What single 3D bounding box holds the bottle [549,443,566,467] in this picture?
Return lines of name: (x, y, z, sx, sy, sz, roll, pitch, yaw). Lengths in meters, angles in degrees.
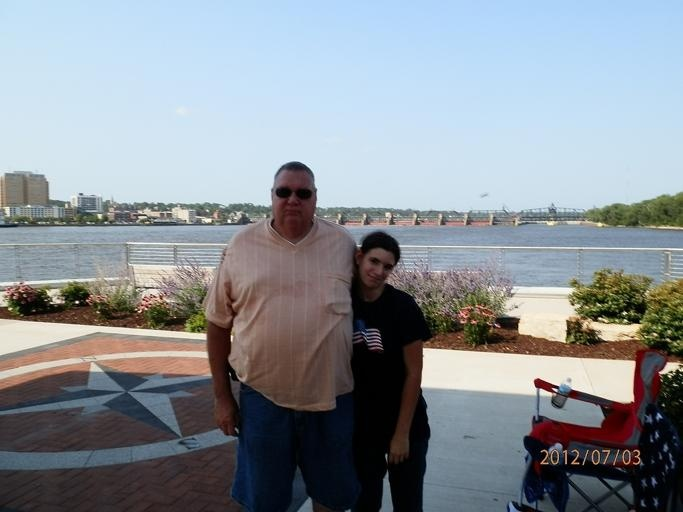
bottle: (1.401, 1.304, 3.637, 0.104, 0.129, 0.138, 0, -4, 8)
